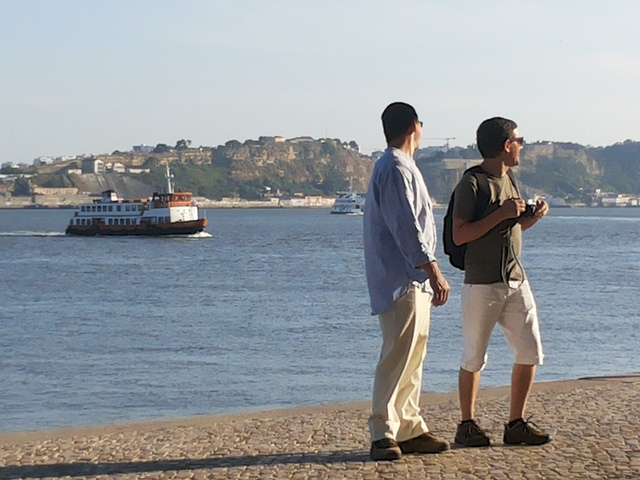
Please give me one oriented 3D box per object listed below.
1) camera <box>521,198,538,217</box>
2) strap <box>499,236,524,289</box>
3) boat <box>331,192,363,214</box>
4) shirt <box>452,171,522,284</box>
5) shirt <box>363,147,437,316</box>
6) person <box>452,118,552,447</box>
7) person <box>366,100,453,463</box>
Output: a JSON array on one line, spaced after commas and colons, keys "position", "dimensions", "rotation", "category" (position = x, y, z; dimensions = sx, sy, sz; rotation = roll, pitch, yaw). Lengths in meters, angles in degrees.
[{"position": [2.325, -0.368, 12.597], "dimensions": [0.182, 0.166, 0.170], "rotation": [2, -9, -7], "category": "camera"}, {"position": [2.146, 0.244, 12.467], "dimensions": [0.338, 0.579, 0.152], "rotation": [-9, 10, -41], "category": "strap"}, {"position": [4.690, -5.604, 161.569], "dimensions": [3.477, 1.698, 4.865], "rotation": [1, 1, 7], "category": "boat"}, {"position": [1.883, -0.146, 12.525], "dimensions": [0.766, 1.252, 0.414], "rotation": [-2, 8, -2], "category": "shirt"}, {"position": [0.890, -0.114, 12.231], "dimensions": [0.716, 1.778, 0.482], "rotation": [-1, 8, 5], "category": "shirt"}, {"position": [1.988, 0.457, 12.533], "dimensions": [1.038, 3.617, 0.683], "rotation": [-1, 8, 5], "category": "person"}, {"position": [0.942, 0.433, 12.280], "dimensions": [0.870, 3.842, 0.828], "rotation": [-3, 8, -4], "category": "person"}]
